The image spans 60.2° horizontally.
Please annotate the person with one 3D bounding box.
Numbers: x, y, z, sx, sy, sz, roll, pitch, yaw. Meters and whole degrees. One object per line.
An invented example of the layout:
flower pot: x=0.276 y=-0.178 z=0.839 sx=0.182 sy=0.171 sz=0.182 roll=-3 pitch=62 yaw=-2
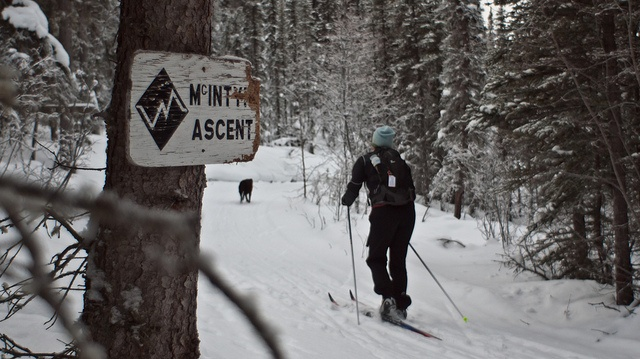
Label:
person: x=1.382 y=1.172 z=12.247 sx=1.331 sy=3.730 sz=0.551 roll=3 pitch=4 yaw=10
